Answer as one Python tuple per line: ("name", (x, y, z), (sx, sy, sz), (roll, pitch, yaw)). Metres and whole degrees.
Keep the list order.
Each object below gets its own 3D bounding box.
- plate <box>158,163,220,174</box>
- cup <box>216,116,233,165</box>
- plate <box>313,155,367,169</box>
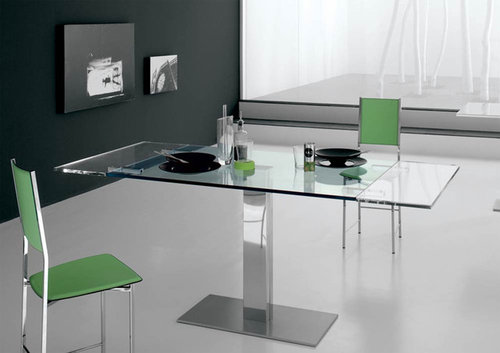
("plate", (-0.366, -0.047, 2.707), (0.374, 0.027, 0.213), (0, 14, -1))
("cup", (-0.149, -0.223, 2.797), (0.100, 0.309, 0.113), (0, 14, -3))
("plate", (0.579, -0.091, 2.845), (0.332, 0.043, 0.254), (2, 14, 6))
